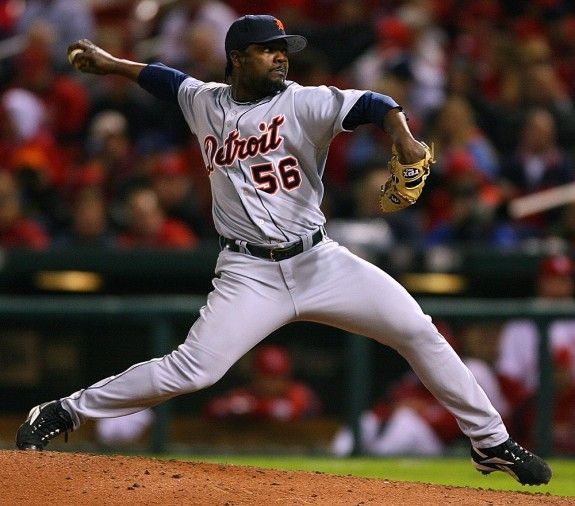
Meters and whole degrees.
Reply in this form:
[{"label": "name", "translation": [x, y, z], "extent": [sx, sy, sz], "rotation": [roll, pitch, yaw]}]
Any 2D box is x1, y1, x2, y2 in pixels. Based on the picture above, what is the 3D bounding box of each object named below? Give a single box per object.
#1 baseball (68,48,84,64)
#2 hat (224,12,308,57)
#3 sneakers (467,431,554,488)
[{"label": "baseball", "translation": [-1.056, -0.991, 5.112], "extent": [0.069, 0.080, 0.041], "rotation": [14, -4, 34]}, {"label": "hat", "translation": [-0.114, -0.998, 4.646], "extent": [0.296, 0.125, 0.208], "rotation": [-2, 5, 19]}, {"label": "sneakers", "translation": [1.008, 0.964, 4.862], "extent": [0.505, 0.231, 0.170], "rotation": [7, 22, 9]}]
